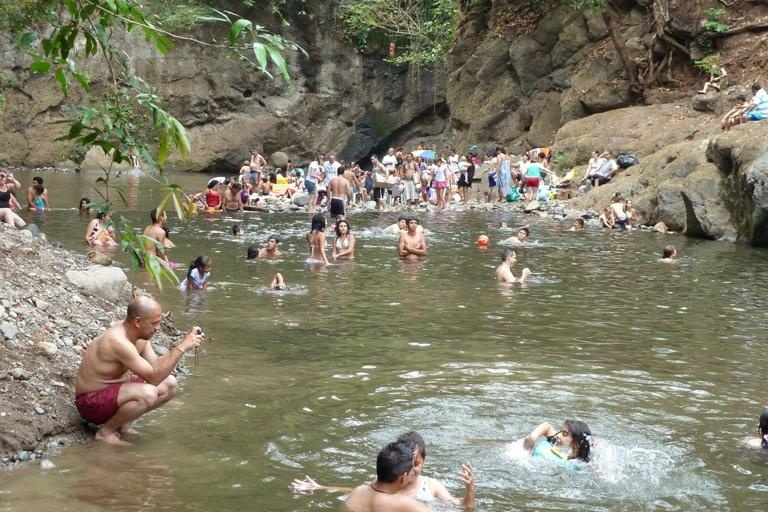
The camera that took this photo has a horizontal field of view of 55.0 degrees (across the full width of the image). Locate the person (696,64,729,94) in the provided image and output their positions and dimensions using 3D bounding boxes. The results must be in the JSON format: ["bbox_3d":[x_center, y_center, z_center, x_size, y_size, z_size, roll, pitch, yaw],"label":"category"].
[{"bbox_3d":[12.514,-6.613,27.810,0.783,1.148,1.452,8,12,32],"label":"person"}]

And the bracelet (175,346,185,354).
[{"bbox_3d":[-2.092,0.956,7.576,0.085,0.032,0.070,33,1,6],"label":"bracelet"}]
